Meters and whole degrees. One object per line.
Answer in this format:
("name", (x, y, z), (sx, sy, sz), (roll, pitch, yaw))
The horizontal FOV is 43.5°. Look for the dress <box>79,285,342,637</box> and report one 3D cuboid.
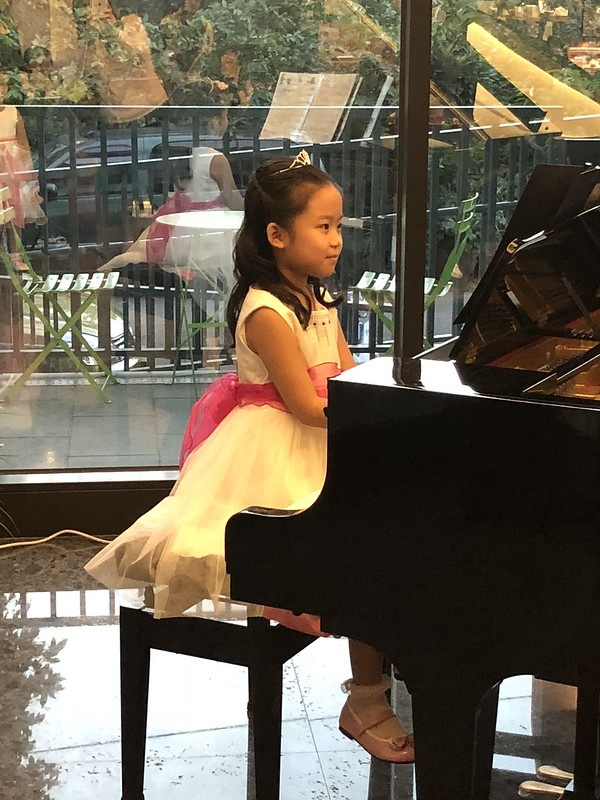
("dress", (-0.083, 0.079, 1.427), (0.563, 0.543, 0.517), (7, 1, 26))
